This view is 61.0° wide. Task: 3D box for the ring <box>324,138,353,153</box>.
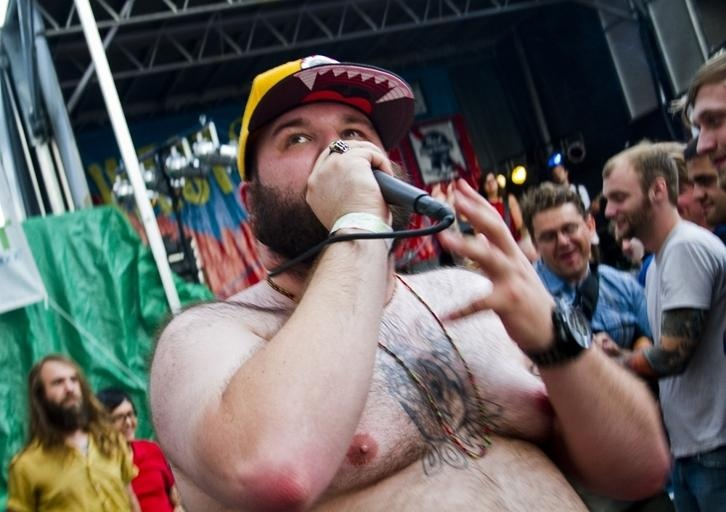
[{"bbox_3d":[-0.080,-0.362,2.055,0.056,0.055,0.023,-1,-27,5],"label":"ring"}]
